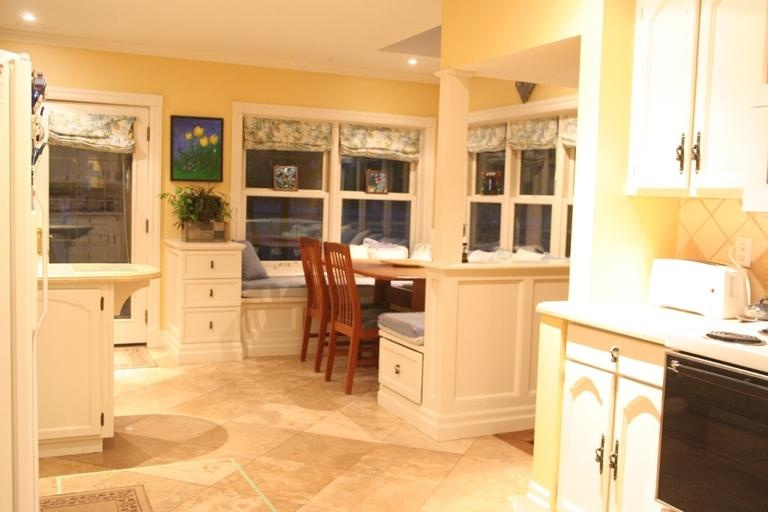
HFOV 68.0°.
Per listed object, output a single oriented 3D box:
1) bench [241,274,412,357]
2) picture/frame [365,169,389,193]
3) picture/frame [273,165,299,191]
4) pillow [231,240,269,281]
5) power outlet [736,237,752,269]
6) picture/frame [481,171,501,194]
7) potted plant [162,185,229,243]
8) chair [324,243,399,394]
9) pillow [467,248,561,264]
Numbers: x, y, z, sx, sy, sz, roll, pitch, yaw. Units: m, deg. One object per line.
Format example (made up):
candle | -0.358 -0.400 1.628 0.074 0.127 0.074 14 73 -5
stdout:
bench | -1.056 0.646 5.894 1.600 0.658 0.868 -1 3 -21
picture/frame | -0.099 -0.911 6.943 0.333 0.299 0.023 2 0 -26
picture/frame | -1.146 -0.900 6.559 0.335 0.303 0.022 -1 1 -26
pillow | -1.413 0.053 6.069 0.126 0.376 0.416 -15 5 19
power outlet | 1.993 -0.021 3.153 0.032 0.167 0.100 -3 10 -24
picture/frame | 1.232 -0.830 6.483 0.114 0.254 0.281 -5 8 -30
potted plant | -1.863 -0.403 5.839 0.594 0.487 0.457 -3 4 -27
chair | -0.290 0.509 5.211 0.535 1.330 0.970 2 9 -1
pillow | 1.216 0.007 5.600 0.594 0.129 0.343 -2 4 -13
